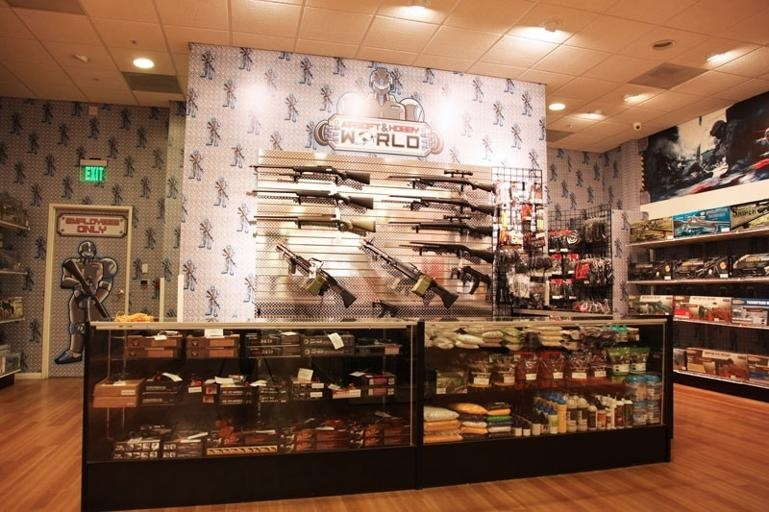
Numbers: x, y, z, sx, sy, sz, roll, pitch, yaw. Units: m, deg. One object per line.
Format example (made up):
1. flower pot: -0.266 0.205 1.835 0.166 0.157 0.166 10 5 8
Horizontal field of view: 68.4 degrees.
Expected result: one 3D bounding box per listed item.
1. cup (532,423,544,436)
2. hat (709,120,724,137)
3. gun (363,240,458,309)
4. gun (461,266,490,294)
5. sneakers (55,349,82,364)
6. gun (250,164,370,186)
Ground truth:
1. cup: 1.664 1.886 6.153 0.137 0.120 0.132 0 -1 0
2. hat: 5.441 -2.093 9.269 0.237 0.204 0.225 -1 -4 -7
3. gun: 0.288 0.229 7.516 1.454 0.407 0.238 29 -5 9
4. gun: 1.262 0.335 7.652 0.462 0.425 0.295 -6 11 -36
5. sneakers: -5.161 1.657 9.304 0.367 0.138 0.210 5 -6 -20
6. gun: -0.934 -1.073 7.451 1.506 0.255 0.300 0 9 -4
